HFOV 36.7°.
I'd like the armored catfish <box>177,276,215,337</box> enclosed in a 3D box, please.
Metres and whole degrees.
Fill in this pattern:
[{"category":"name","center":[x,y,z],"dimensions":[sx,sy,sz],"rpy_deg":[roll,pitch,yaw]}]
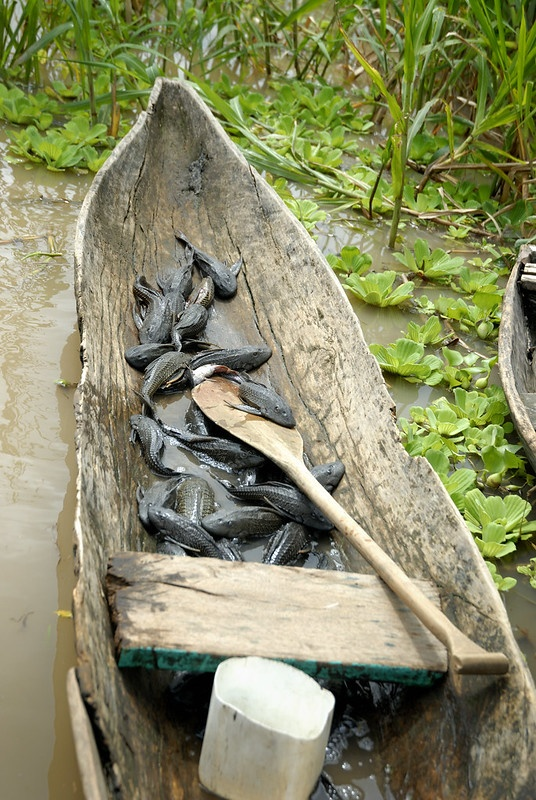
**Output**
[{"category":"armored catfish","center":[-0.227,-0.310,2.769],"dimensions":[0.069,0.115,0.286],"rpy_deg":[34,44,-21]}]

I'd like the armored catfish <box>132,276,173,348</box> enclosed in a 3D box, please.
[{"category":"armored catfish","center":[-0.391,-0.278,2.667],"dimensions":[0.128,0.102,0.220],"rpy_deg":[-8,69,-27]}]

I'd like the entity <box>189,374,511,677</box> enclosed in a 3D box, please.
[{"category":"entity","center":[0.056,0.118,2.247],"dimensions":[0.261,0.094,1.751],"rpy_deg":[10,15,-26]}]

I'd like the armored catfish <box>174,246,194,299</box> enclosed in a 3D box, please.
[{"category":"armored catfish","center":[-0.298,-0.451,2.886],"dimensions":[0.053,0.080,0.184],"rpy_deg":[16,57,-20]}]

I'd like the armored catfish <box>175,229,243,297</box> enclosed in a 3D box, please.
[{"category":"armored catfish","center":[-0.191,-0.478,2.939],"dimensions":[0.183,0.079,0.210],"rpy_deg":[-33,64,-13]}]
